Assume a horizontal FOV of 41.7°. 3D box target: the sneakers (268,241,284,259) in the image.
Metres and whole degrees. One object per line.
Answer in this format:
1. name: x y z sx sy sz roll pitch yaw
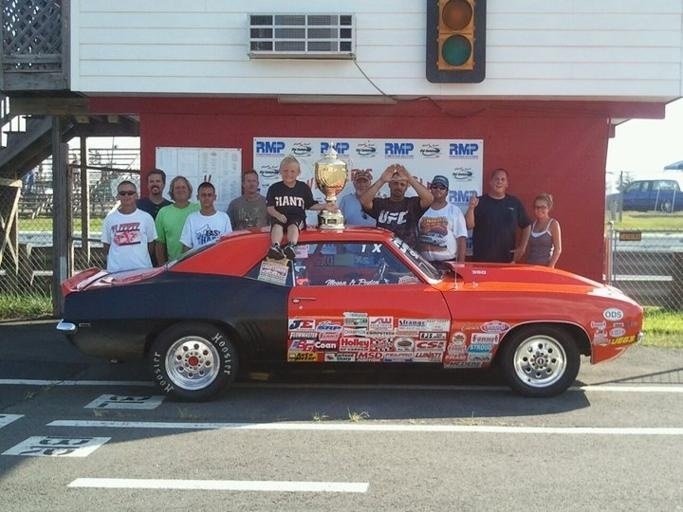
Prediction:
1. sneakers: -0.737 -0.054 10.388 0.191 0.181 0.155 -2 13 -6

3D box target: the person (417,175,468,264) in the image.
1. person: 1.323 -0.142 12.451 0.795 2.106 0.578 -1 -31 11

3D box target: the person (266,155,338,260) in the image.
1. person: -0.582 -0.593 11.201 0.677 1.466 0.743 3 9 3

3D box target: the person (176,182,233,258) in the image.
1. person: -1.805 -0.463 12.198 0.528 1.138 0.649 4 11 0

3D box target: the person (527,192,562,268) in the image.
1. person: 2.890 -0.360 12.857 0.413 1.112 0.495 6 9 20

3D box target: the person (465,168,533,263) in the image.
1. person: 2.196 -0.477 12.843 0.698 1.511 0.793 2 11 -9

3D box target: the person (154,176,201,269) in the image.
1. person: -2.386 -0.571 12.764 0.262 1.394 0.673 2 46 -14

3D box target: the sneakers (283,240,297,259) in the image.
1. sneakers: -0.586 -0.067 10.384 0.132 0.186 0.143 0 13 2

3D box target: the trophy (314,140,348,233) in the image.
1. trophy: -0.096 -0.895 11.625 0.391 1.054 0.400 -1 8 -31

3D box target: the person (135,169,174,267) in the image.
1. person: -2.717 -0.615 13.218 0.416 1.468 0.466 0 10 -3

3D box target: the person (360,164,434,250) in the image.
1. person: 0.750 -0.757 12.288 0.682 1.316 0.736 4 8 9
